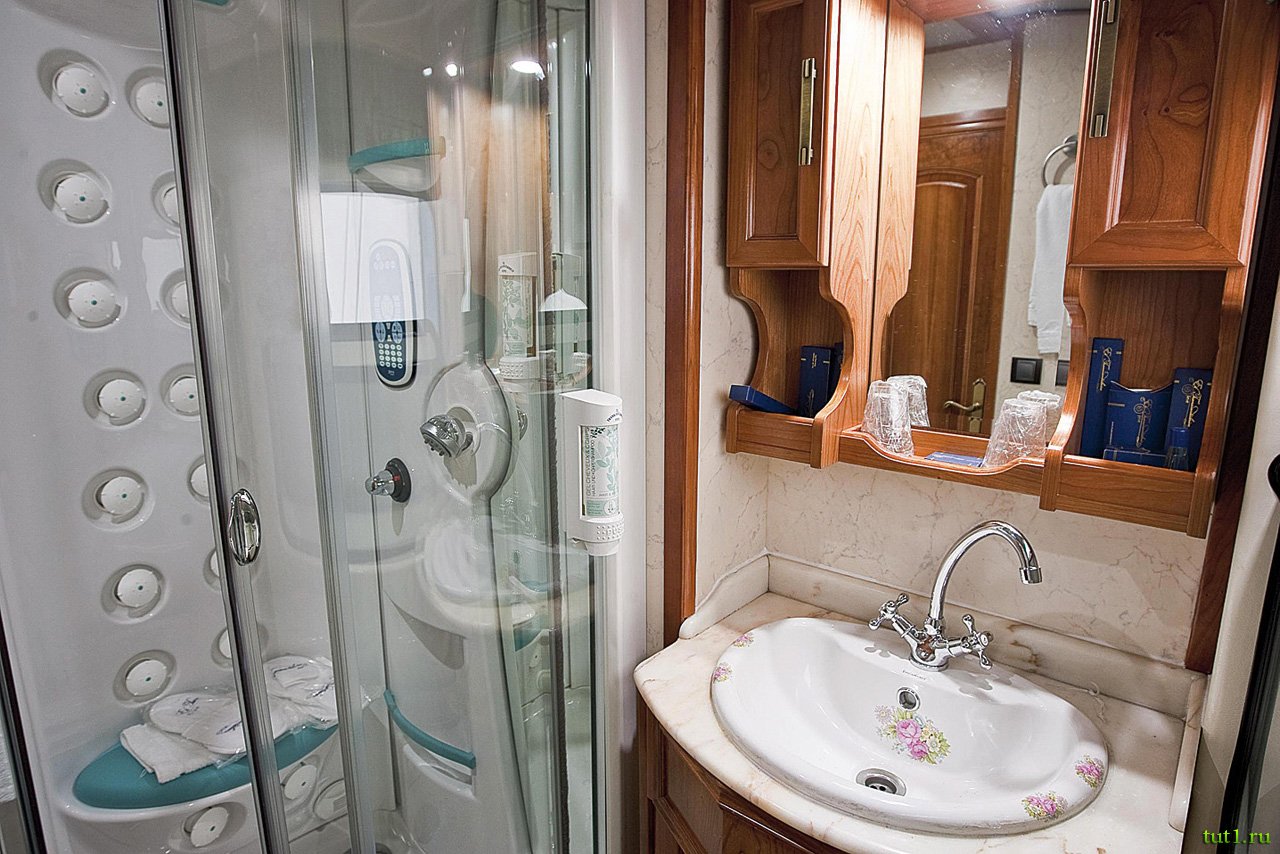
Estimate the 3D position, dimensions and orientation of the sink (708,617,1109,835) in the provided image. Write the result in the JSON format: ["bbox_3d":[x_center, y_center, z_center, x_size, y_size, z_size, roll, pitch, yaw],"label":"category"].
[{"bbox_3d":[0.530,0.627,1.789,0.759,0.249,0.495,7,14,33],"label":"sink"}]

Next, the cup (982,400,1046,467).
[{"bbox_3d":[0.795,0.013,1.835,0.104,0.137,0.124,9,15,40],"label":"cup"}]

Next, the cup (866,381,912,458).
[{"bbox_3d":[0.566,-0.015,1.966,0.105,0.165,0.112,-2,19,1],"label":"cup"}]
